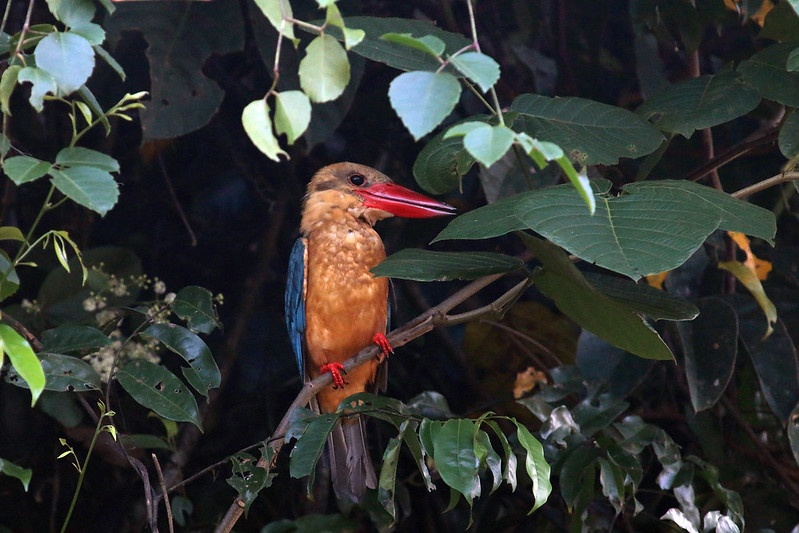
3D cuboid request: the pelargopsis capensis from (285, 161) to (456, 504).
[{"bbox_3d":[-0.152,0.211,3.597,0.478,1.041,0.655,8,-38,-10],"label":"pelargopsis capensis"}]
